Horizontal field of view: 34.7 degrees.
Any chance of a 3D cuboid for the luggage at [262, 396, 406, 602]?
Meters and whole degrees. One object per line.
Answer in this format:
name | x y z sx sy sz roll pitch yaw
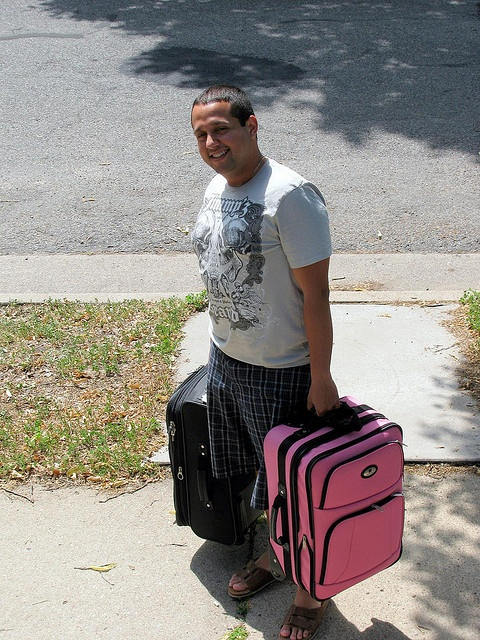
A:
luggage | 0.373 0.678 2.940 0.509 0.671 0.344 -14 25 -21
